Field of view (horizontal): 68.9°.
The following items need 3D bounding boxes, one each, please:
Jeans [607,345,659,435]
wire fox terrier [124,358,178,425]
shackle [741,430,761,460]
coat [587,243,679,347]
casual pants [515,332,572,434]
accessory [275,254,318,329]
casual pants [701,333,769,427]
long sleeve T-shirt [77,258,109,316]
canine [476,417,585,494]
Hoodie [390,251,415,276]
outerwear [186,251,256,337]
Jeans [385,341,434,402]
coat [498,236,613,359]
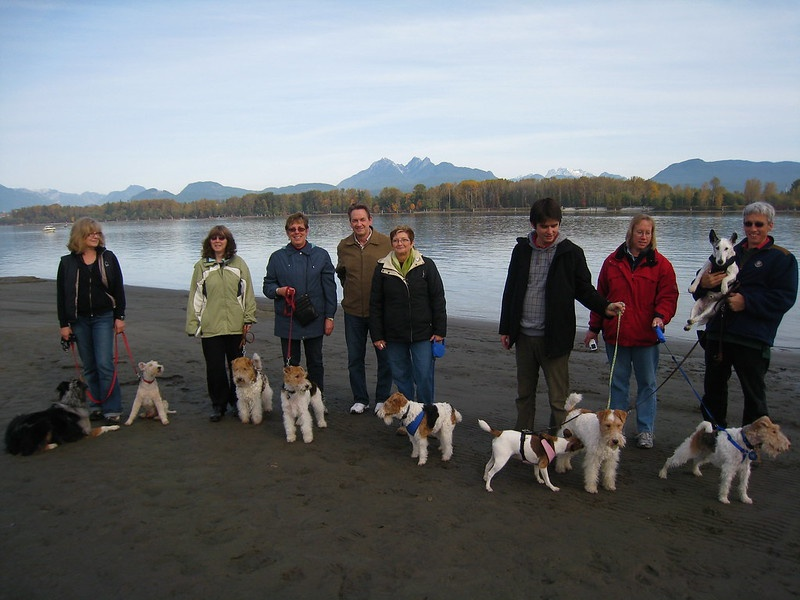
[{"bbox_3d":[3.101,1.006,7.867,0.393,0.302,1.296,-6,50,39],"label":"Jeans"},{"bbox_3d":[-3.768,1.323,8.690,0.671,0.938,0.589,-5,9,-9],"label":"wire fox terrier"},{"bbox_3d":[3.944,1.654,6.693,0.233,0.316,0.134,11,-23,-38],"label":"shackle"},{"bbox_3d":[3.094,-0.082,7.797,1.089,1.382,0.745,4,1,38],"label":"coat"},{"bbox_3d":[1.779,1.133,7.505,0.554,0.325,1.333,-13,37,21],"label":"casual pants"},{"bbox_3d":[-1.485,0.060,8.551,0.407,0.566,0.196,-17,12,6],"label":"accessory"},{"bbox_3d":[4.263,1.038,7.480,0.639,2.153,0.470,-3,32,33],"label":"casual pants"},{"bbox_3d":[-4.376,-0.204,8.289,0.476,0.802,0.216,-9,10,-30],"label":"long sleeve T-shirt"},{"bbox_3d":[1.578,1.876,7.022,1.218,0.796,0.403,4,1,2],"label":"canine"},{"bbox_3d":[0.036,-0.491,8.156,0.249,0.360,0.183,-2,19,3],"label":"Hoodie"},{"bbox_3d":[-2.656,-0.047,8.573,0.957,1.178,0.418,-7,10,-20],"label":"outerwear"},{"bbox_3d":[0.144,0.876,8.272,0.582,1.368,0.330,11,42,12],"label":"Jeans"},{"bbox_3d":[1.878,-0.071,7.290,1.297,1.440,0.552,0,10,23],"label":"coat"}]
